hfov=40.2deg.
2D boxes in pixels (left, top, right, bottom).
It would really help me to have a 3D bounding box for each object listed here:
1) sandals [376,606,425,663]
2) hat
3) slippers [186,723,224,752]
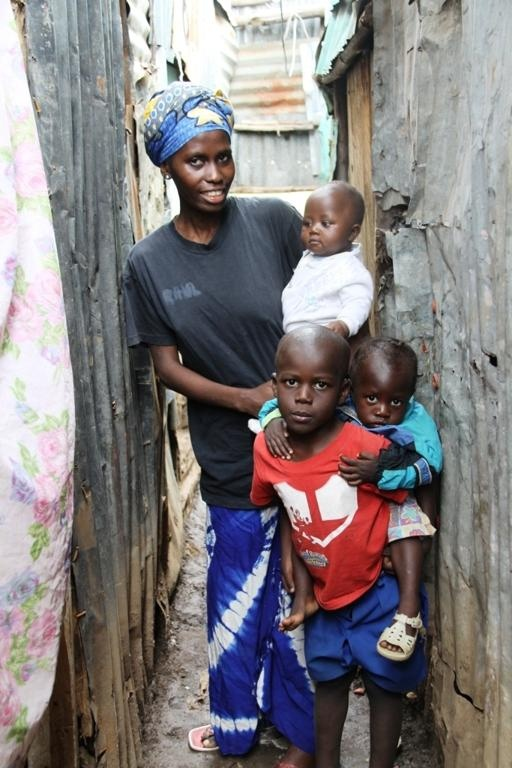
[{"bbox_3d":[0.315,0.547,1.544,0.054,0.059,0.163,-2,-3,18],"label":"sandals"},{"bbox_3d":[-0.184,-0.701,1.942,0.182,0.221,0.239,-3,0,-18],"label":"hat"},{"bbox_3d":[-0.179,1.172,2.338,0.051,0.037,0.095,33,21,37],"label":"slippers"}]
